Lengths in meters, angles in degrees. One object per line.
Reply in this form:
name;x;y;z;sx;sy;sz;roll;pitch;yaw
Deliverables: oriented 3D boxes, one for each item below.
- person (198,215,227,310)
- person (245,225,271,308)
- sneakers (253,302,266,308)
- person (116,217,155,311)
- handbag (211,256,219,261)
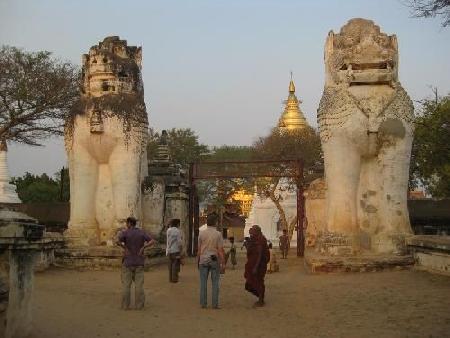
person;-0.211;1.642;10.412;0.454;1.591;0.887;-3;13;-1
person;0.583;1.725;10.530;0.424;1.323;0.951;-3;13;1
sneakers;0.605;2.308;10.260;0.203;0.071;0.206;-2;12;5
person;-1.504;1.621;10.195;0.602;1.444;0.883;-1;13;8
handbag;-0.162;1.541;10.358;0.110;0.097;0.042;-4;13;-5
